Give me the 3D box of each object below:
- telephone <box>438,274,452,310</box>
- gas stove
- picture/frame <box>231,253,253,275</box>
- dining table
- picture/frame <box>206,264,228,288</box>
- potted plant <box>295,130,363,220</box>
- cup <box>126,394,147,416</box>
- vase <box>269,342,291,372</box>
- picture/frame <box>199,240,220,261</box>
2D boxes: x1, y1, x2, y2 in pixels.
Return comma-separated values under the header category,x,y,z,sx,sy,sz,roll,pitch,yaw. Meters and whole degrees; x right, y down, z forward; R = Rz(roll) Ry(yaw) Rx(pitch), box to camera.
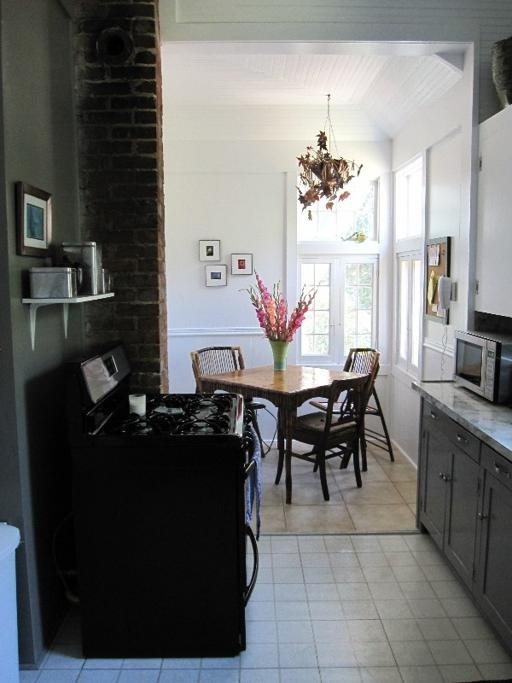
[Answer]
category,x,y,z,sx,sy,sz,roll,pitch,yaw
telephone,1.169,-0.300,3.284,0.077,0.185,0.166,0,1,21
gas stove,-0.305,0.271,2.147,0.504,0.122,0.707,-1,1,-1
picture/frame,-0.143,-0.732,4.988,0.179,0.193,0.020,0,0,-3
dining table,0.287,0.429,3.988,0.847,0.863,1.059,2,5,31
picture/frame,-0.378,-0.624,4.987,0.186,0.211,0.019,0,2,-4
potted plant,0.550,-1.387,4.004,0.358,0.712,0.376,2,4,43
cup,-0.491,0.244,2.154,0.070,0.086,0.072,1,6,0
vase,0.187,0.121,4.235,0.189,0.260,0.195,-1,1,28
picture/frame,-0.442,-0.856,4.966,0.167,0.187,0.017,0,1,-5
